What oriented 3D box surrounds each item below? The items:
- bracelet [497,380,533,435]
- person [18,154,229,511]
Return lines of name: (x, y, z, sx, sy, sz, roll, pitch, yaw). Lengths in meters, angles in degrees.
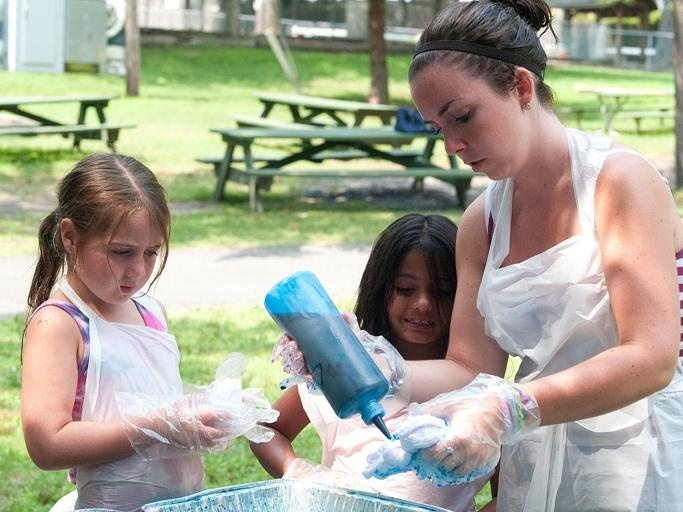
bracelet: (0.471, 0.419, 2.491, 0.101, 0.086, 0.080, 43, -4, -26)
person: (-0.694, 0.245, 2.792, 0.536, 1.040, 0.720, -2, 15, -20)
